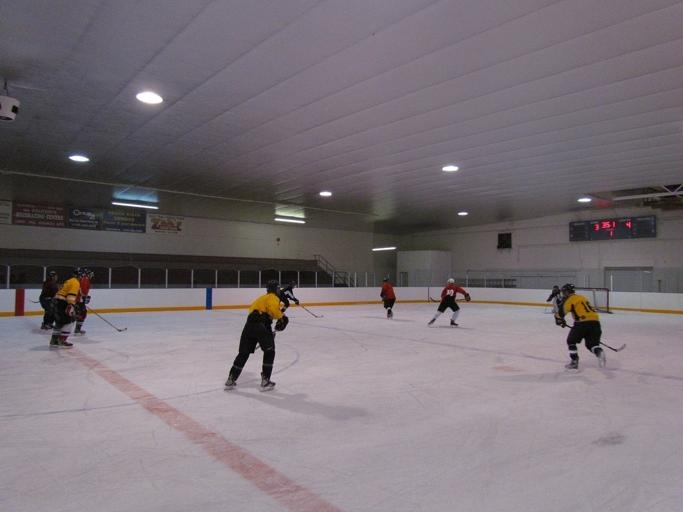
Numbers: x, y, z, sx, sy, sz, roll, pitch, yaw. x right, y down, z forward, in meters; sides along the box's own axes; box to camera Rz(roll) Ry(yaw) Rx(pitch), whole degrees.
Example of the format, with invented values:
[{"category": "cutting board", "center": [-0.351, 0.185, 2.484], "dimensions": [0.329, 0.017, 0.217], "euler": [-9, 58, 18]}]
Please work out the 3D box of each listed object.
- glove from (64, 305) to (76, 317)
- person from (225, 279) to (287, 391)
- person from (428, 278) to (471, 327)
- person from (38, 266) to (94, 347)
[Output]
[{"category": "glove", "center": [-4.420, 0.873, 7.776], "dimensions": [0.148, 0.188, 0.192], "euler": [5, -18, -25]}, {"category": "person", "center": [-0.985, 0.901, 5.471], "dimensions": [0.628, 1.248, 0.362], "euler": [0, 2, -11]}, {"category": "person", "center": [3.370, 1.449, 15.105], "dimensions": [1.463, 1.718, 1.063], "euler": [1, -2, 37]}, {"category": "person", "center": [-4.665, 0.880, 8.253], "dimensions": [0.595, 1.299, 1.424], "euler": [-1, 2, -28]}]
